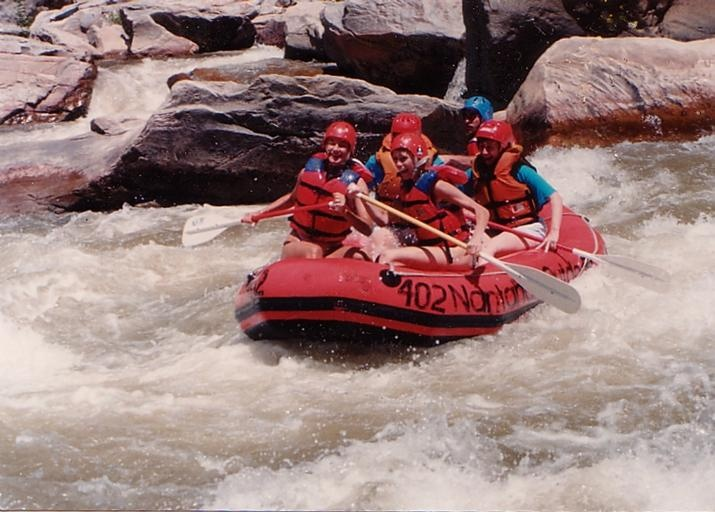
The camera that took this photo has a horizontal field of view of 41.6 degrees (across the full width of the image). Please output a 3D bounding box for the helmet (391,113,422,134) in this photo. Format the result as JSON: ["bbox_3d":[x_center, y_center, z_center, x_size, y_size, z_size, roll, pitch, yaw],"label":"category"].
[{"bbox_3d":[0.572,-1.548,11.483,0.306,0.307,0.355,2,-25,5],"label":"helmet"}]

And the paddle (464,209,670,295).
[{"bbox_3d":[2.319,-0.021,10.758,2.940,0.293,0.156,17,-15,15],"label":"paddle"}]

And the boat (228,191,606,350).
[{"bbox_3d":[0.573,0.311,9.970,2.751,0.527,1.343,-7,38,-22],"label":"boat"}]

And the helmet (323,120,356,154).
[{"bbox_3d":[-0.221,-1.340,10.585,0.356,0.297,0.418,16,12,4],"label":"helmet"}]

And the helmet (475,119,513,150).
[{"bbox_3d":[1.529,-1.385,10.720,0.315,0.349,0.307,8,9,23],"label":"helmet"}]

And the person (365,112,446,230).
[{"bbox_3d":[0.496,-1.087,11.561,1.264,1.294,0.596,5,-8,9],"label":"person"}]

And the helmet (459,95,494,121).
[{"bbox_3d":[1.553,-1.871,11.895,0.472,0.301,0.313,-12,18,-29],"label":"helmet"}]

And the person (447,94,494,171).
[{"bbox_3d":[1.471,-1.558,12.185,0.793,0.992,0.561,-2,9,-27],"label":"person"}]
